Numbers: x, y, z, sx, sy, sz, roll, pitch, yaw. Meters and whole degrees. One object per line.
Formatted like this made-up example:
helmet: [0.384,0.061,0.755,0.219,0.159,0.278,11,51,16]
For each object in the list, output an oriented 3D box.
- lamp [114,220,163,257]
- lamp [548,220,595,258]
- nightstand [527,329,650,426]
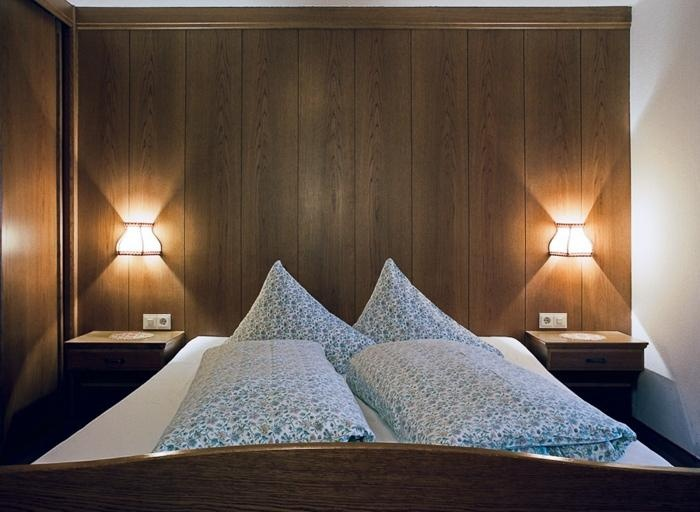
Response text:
lamp: [-1.384,-0.105,3.708,0.225,0.205,0.237,0,1,-13]
lamp: [1.455,-0.098,3.710,0.224,0.194,0.234,-1,1,24]
nightstand: [1.607,0.787,3.764,0.601,0.609,0.551,0,13,26]
